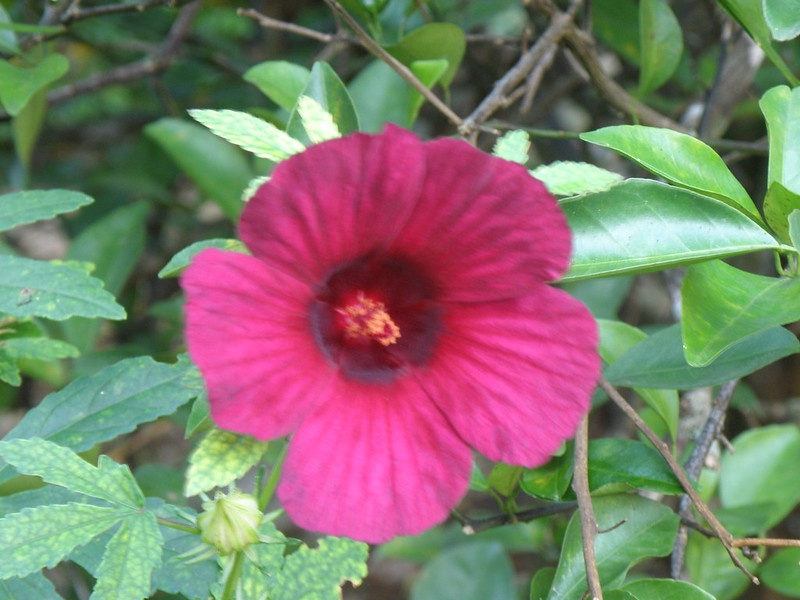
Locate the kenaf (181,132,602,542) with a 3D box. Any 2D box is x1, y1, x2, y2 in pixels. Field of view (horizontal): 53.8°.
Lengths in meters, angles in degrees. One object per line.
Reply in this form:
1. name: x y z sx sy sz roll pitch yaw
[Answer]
1. kenaf: -0.020 0.027 0.909 0.478 0.169 0.458 -15 79 -47
